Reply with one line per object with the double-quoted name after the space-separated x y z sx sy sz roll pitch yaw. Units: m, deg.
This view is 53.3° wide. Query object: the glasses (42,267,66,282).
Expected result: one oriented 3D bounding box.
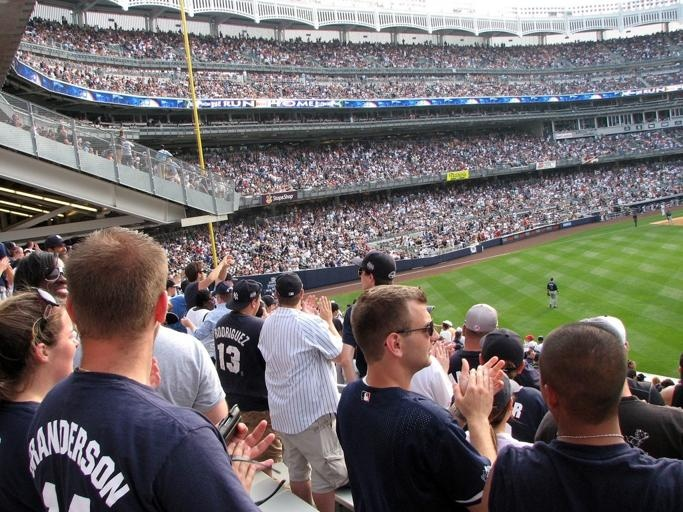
-2.797 0.180 6.630 0.082 0.130 0.247 0 1 2 "glasses"
